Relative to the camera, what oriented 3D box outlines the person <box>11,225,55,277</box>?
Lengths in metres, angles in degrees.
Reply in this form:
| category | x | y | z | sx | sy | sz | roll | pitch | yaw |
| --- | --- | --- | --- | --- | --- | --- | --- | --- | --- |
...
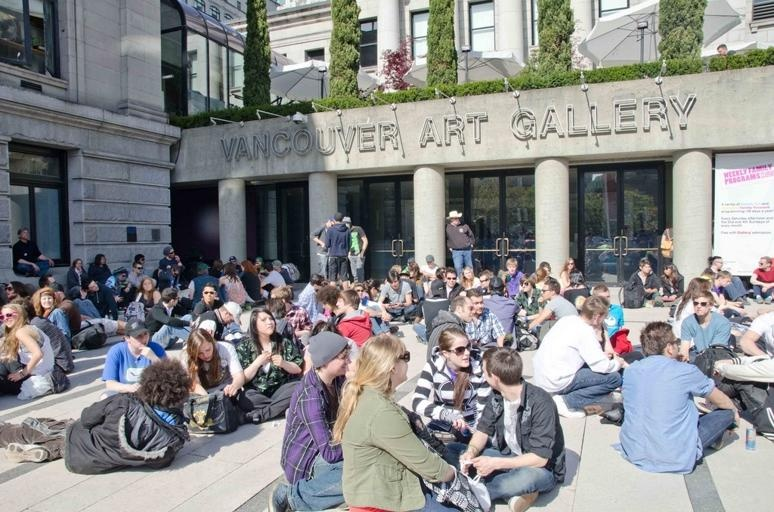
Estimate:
| category | x | y | z | sx | sy | sz | roll | pitch | yaw |
| --- | --- | --- | --- | --- | --- | --- | --- | --- | --- |
| person | -11.027 | -0.129 | 23.204 | 1.093 | 1.575 | 1.198 | -1 | 8 | -8 |

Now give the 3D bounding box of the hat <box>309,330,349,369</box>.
| category | x | y | z | sx | sy | sz | roll | pitch | yaw |
| --- | --- | --- | --- | --- | --- | --- | --- | --- | --- |
| hat | -1.022 | 1.623 | 12.831 | 0.881 | 0.517 | 0.709 | 10 | 0 | 18 |

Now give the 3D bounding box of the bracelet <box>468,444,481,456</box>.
| category | x | y | z | sx | sy | sz | roll | pitch | yaw |
| --- | --- | --- | --- | --- | --- | --- | --- | --- | --- |
| bracelet | 1.493 | 3.339 | 12.815 | 0.239 | 0.066 | 0.157 | 0 | 1 | -11 |

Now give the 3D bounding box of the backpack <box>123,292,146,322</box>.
| category | x | y | z | sx | sy | sz | roll | pitch | yaw |
| --- | --- | --- | --- | --- | --- | --- | --- | --- | --- |
| backpack | -6.841 | 1.402 | 20.269 | 0.567 | 0.881 | 0.483 | -1 | -25 | -10 |

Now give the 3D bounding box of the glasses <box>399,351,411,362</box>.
| category | x | y | z | sx | sy | sz | roll | pitch | yaw |
| --- | --- | --- | --- | --- | --- | --- | --- | --- | --- |
| glasses | 0.289 | 1.690 | 12.333 | 0.149 | 0.090 | 0.216 | 3 | 7 | 5 |
